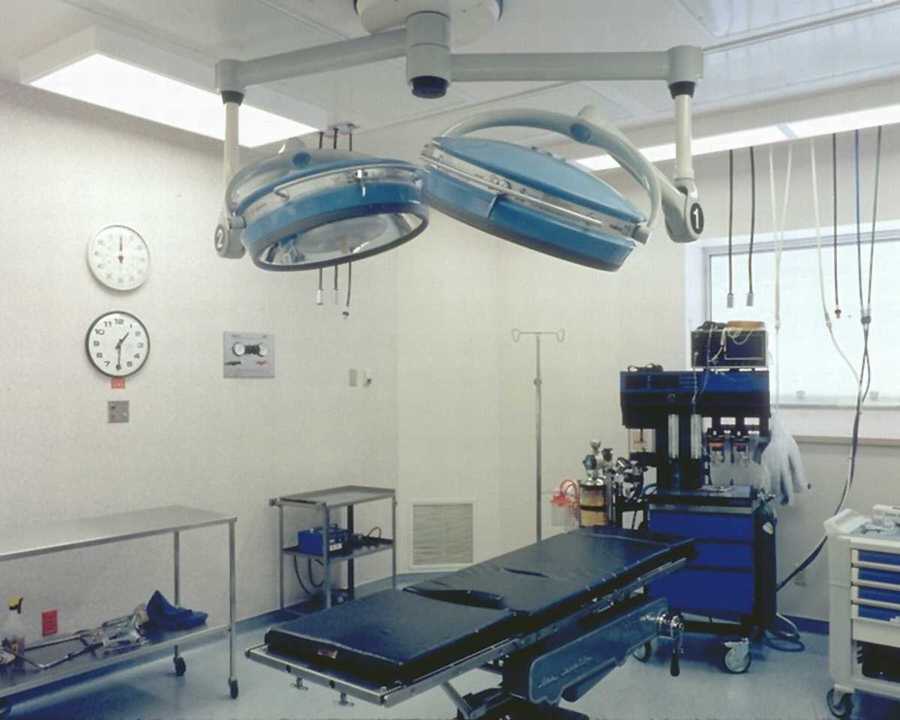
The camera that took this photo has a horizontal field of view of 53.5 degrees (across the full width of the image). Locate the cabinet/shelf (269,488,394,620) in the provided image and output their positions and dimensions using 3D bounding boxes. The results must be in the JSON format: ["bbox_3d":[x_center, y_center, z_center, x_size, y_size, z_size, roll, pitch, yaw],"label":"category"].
[{"bbox_3d":[-0.667,1.144,5.771,0.505,0.973,0.934,-2,-5,31],"label":"cabinet/shelf"}]

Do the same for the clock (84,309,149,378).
[{"bbox_3d":[-1.835,-0.089,4.908,0.311,0.381,0.043,1,23,-22],"label":"clock"}]

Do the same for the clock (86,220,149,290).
[{"bbox_3d":[-1.847,-0.566,4.900,0.050,0.413,0.366,-6,-1,34],"label":"clock"}]

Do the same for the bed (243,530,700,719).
[{"bbox_3d":[0.241,0.676,3.361,0.693,0.413,1.640,-6,-4,41],"label":"bed"}]
